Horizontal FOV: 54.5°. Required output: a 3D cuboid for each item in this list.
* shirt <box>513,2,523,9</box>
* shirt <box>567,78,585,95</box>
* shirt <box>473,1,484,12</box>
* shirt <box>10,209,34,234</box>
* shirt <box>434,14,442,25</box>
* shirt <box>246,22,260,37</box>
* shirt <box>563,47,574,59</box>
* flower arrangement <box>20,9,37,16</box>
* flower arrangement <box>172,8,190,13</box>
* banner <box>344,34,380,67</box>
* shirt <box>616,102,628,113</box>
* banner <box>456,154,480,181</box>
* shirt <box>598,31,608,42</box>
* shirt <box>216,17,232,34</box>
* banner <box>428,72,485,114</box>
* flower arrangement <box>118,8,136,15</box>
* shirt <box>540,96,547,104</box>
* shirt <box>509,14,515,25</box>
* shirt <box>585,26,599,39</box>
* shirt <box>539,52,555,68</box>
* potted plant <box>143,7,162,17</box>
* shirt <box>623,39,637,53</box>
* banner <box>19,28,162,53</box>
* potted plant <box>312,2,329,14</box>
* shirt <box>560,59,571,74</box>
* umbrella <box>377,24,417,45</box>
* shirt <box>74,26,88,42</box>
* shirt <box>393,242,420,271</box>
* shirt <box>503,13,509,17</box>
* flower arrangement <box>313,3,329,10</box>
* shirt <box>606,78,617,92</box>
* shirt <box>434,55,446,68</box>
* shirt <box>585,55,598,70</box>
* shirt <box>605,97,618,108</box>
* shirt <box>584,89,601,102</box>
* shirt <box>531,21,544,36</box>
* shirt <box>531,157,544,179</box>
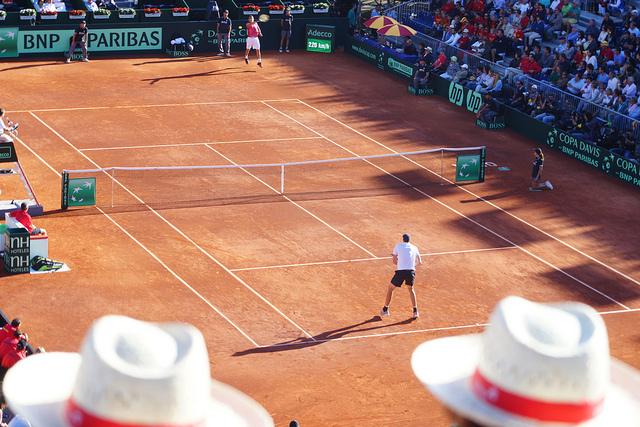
[{"bbox_3d":[11.605,-12.241,36.704,0.386,0.438,0.668,-6,8,-18],"label":"shirt"},{"bbox_3d":[12.195,-6.023,29.524,0.393,0.639,0.686,12,33,-37],"label":"shirt"},{"bbox_3d":[9.830,-12.751,38.414,0.298,0.611,0.763,-6,22,-35],"label":"shirt"},{"bbox_3d":[-8.546,0.202,17.934,0.786,0.651,0.319,3,10,38],"label":"shirt"},{"bbox_3d":[7.472,-12.054,38.951,0.639,0.599,0.359,5,-2,40],"label":"shirt"},{"bbox_3d":[-4.043,-11.111,37.754,0.612,0.881,0.563,-4,8,-5],"label":"shirt"},{"bbox_3d":[12.710,-8.165,31.701,0.443,0.630,0.576,0,9,21],"label":"shirt"},{"bbox_3d":[-16.773,-11.545,35.798,0.614,0.178,0.599,-2,10,-22],"label":"flower arrangement"},{"bbox_3d":[-8.732,-12.767,39.091,1.012,0.354,0.659,-5,8,-13],"label":"flower arrangement"},{"bbox_3d":[2.740,-10.510,40.187,0.197,2.368,3.639,-8,9,-29],"label":"banner"},{"bbox_3d":[13.360,-4.702,27.635,0.472,0.436,0.350,6,19,12],"label":"shirt"},{"bbox_3d":[5.964,-1.817,24.991,1.050,0.816,0.078,-7,13,-29],"label":"banner"},{"bbox_3d":[14.433,-9.053,31.709,0.432,0.478,0.383,1,9,23],"label":"shirt"},{"bbox_3d":[-6.043,-11.843,39.205,0.824,0.974,0.497,-3,8,0],"label":"shirt"},{"bbox_3d":[7.492,-6.458,33.508,0.451,0.724,3.011,7,24,-37],"label":"banner"},{"bbox_3d":[-11.748,-12.326,38.027,1.072,0.284,0.476,-7,9,-26],"label":"flower arrangement"},{"bbox_3d":[10.789,-5.479,29.967,0.411,0.349,0.034,2,7,21],"label":"shirt"},{"bbox_3d":[11.163,-11.313,36.204,0.299,0.547,0.410,2,9,31],"label":"shirt"},{"bbox_3d":[14.051,-9.325,32.181,0.669,0.664,0.592,3,10,38],"label":"shirt"},{"bbox_3d":[11.678,-7.839,31.905,0.577,0.819,0.983,6,11,-20],"label":"shirt"},{"bbox_3d":[-10.309,-12.382,38.368,0.905,0.349,0.887,-3,22,-13],"label":"potted plant"},{"bbox_3d":[15.121,-8.118,30.096,0.428,0.664,0.695,-1,8,16],"label":"shirt"},{"bbox_3d":[-13.740,-10.441,37.496,7.989,1.433,0.544,-6,9,-23],"label":"banner"},{"bbox_3d":[0.080,-13.938,42.269,0.800,0.261,0.767,2,38,0],"label":"potted plant"},{"bbox_3d":[12.026,-7.183,30.447,0.489,0.760,1.124,0,9,21],"label":"shirt"},{"bbox_3d":[4.719,-10.867,37.765,1.801,0.980,1.793,0,15,3],"label":"umbrella"},{"bbox_3d":[-13.870,-10.397,36.075,0.651,0.881,0.363,-7,9,-24],"label":"shirt"},{"bbox_3d":[2.286,1.163,16.458,0.911,0.885,0.483,-1,15,-4],"label":"shirt"},{"bbox_3d":[10.985,-11.719,36.739,0.359,0.332,0.084,13,13,28],"label":"shirt"},{"bbox_3d":[0.107,-14.029,42.219,1.087,0.418,0.322,-4,8,-8],"label":"flower arrangement"},{"bbox_3d":[13.467,-5.953,28.678,0.512,0.764,0.458,6,6,17],"label":"shirt"},{"bbox_3d":[6.853,-8.637,35.307,0.594,0.708,0.392,-9,10,-38],"label":"shirt"},{"bbox_3d":[13.456,-7.328,30.797,0.510,0.887,0.928,3,17,23],"label":"shirt"},{"bbox_3d":[13.113,-4.967,27.901,0.181,0.495,0.366,8,8,16],"label":"shirt"},{"bbox_3d":[12.628,-5.386,28.631,0.460,0.222,0.613,0,46,12],"label":"shirt"},{"bbox_3d":[12.067,-10.170,34.381,0.458,0.796,0.634,-4,29,-30],"label":"shirt"},{"bbox_3d":[8.562,-1.780,24.444,0.357,0.864,0.422,-1,8,12],"label":"shirt"}]
